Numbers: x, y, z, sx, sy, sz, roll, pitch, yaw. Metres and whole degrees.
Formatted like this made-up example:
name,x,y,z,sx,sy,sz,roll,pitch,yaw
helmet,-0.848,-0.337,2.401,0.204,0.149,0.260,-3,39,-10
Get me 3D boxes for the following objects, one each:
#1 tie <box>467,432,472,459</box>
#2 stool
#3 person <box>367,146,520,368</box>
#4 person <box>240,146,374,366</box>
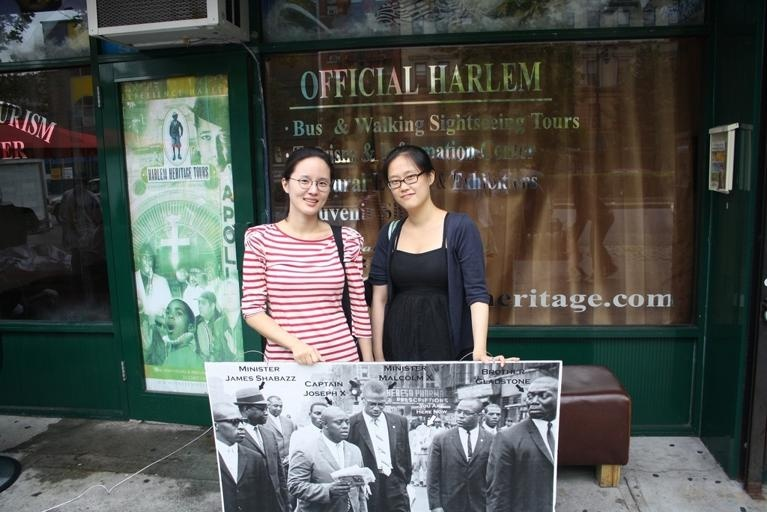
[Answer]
name,x,y,z,sx,sy,sz,roll,pitch,yaw
tie,0.530,1.147,4.247,0.028,0.157,0.004,-1,5,3
stool,1.525,1.273,5.345,0.696,0.728,0.728,0,3,8
person,0.303,-0.019,4.521,0.835,1.410,0.244,1,6,26
person,-0.498,0.009,4.350,0.802,1.393,0.374,-2,5,-2
